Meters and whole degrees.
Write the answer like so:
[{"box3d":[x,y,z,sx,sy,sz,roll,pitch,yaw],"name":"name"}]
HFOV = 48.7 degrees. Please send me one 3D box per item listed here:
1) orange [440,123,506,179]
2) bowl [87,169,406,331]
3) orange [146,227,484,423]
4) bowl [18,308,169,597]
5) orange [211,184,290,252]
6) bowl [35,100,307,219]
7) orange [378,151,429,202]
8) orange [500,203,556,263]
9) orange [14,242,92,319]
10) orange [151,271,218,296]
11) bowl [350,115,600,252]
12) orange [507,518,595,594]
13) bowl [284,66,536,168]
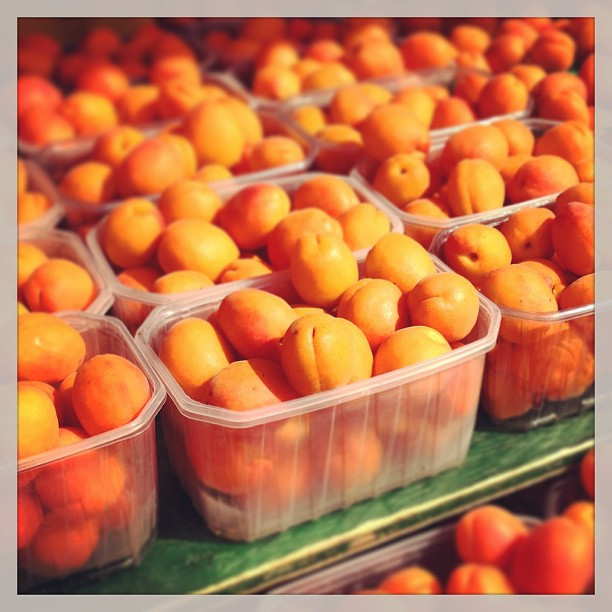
[{"box3d":[0.278,-0.260,1.099,0.089,0.075,0.072,-28,27,-8],"name":"orange"},{"box3d":[-0.099,-0.108,1.019,0.383,0.149,0.268,-18,44,-16],"name":"bowl"},{"box3d":[0.018,0.021,0.812,0.379,0.138,0.221,-9,29,-17],"name":"orange"},{"box3d":[-0.274,0.154,0.846,0.193,0.194,0.288,-15,40,-27],"name":"bowl"},{"box3d":[-0.089,-0.130,1.084,0.101,0.082,0.093,-18,65,14],"name":"orange"},{"box3d":[-0.233,-0.270,1.186,0.354,0.136,0.252,-21,40,-18],"name":"bowl"},{"box3d":[0.163,-0.211,1.111,0.065,0.079,0.079,6,62,3],"name":"orange"},{"box3d":[0.316,-0.098,1.006,0.066,0.084,0.074,15,20,-9],"name":"orange"},{"box3d":[-0.382,-0.029,1.016,0.100,0.065,0.111,7,29,0],"name":"orange"},{"box3d":[-0.175,-0.032,0.947,0.055,0.037,0.045,-3,-4,-26],"name":"orange"},{"box3d":[0.291,-0.213,1.091,0.308,0.118,0.255,-17,42,-8],"name":"bowl"},{"box3d":[0.277,0.283,0.759,0.075,0.113,0.083,1,4,7],"name":"orange"},{"box3d":[0.194,-0.381,1.278,0.361,0.140,0.234,-22,39,-18],"name":"bowl"}]
